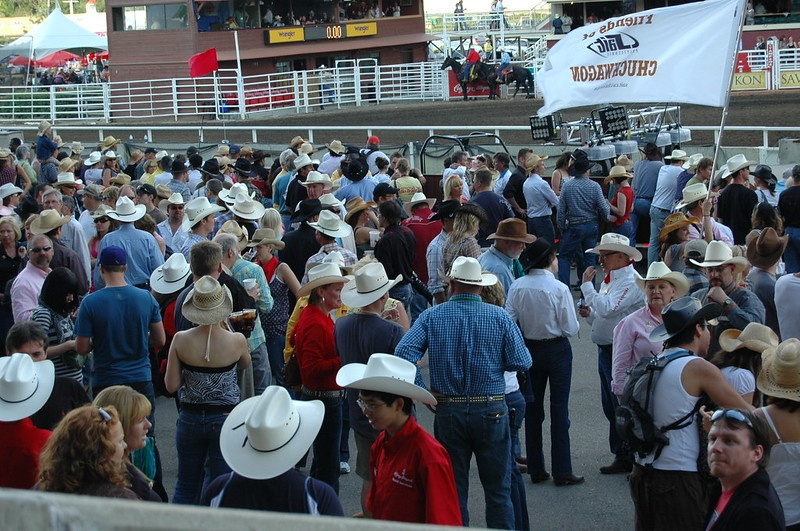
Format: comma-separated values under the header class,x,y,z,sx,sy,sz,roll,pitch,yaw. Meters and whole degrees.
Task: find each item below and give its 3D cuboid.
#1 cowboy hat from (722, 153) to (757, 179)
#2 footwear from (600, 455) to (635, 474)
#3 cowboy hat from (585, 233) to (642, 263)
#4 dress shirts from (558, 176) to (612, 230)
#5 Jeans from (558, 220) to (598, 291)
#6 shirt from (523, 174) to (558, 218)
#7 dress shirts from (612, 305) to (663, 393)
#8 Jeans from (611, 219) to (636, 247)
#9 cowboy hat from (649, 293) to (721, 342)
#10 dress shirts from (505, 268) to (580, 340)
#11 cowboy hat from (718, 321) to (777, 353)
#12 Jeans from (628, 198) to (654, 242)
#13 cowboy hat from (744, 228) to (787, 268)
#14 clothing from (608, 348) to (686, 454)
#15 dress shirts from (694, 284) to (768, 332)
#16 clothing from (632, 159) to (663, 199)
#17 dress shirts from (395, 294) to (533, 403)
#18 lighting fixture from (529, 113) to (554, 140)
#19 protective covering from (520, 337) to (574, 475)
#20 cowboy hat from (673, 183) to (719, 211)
class,x,y,z,sx,sy,sz,roll,pitch,yaw
cowboy hat,5.416,-1.612,19.500,0.411,0.203,0.512,-28,4,26
footwear,2.862,2.631,16.089,0.489,0.379,0.181,2,-4,2
cowboy hat,2.905,-0.235,16.017,0.478,0.206,0.464,13,-10,-1
dress shirts,3.071,-0.981,20.448,0.855,1.010,0.502,-2,8,5
Jeans,3.021,-0.232,20.524,0.593,1.472,0.477,-8,36,-10
shirt,2.408,-1.227,21.145,0.423,0.765,0.636,-15,12,-35
dress shirts,2.882,1.047,14.683,0.474,0.875,0.917,3,14,43
Jeans,3.535,-0.508,19.344,0.181,0.585,0.245,8,28,32
cowboy hat,3.233,0.697,13.942,0.554,0.244,0.618,-32,-1,-20
dress shirts,1.776,0.508,15.666,0.978,0.950,0.511,0,8,18
cowboy hat,4.110,0.866,14.211,0.496,0.214,0.382,-8,20,-30
Jeans,4.409,-0.714,22.309,0.274,0.363,1.028,17,50,2
cowboy hat,4.799,-0.234,15.982,0.426,0.559,0.227,18,-24,38
clothing,2.739,1.592,14.455,0.976,1.439,0.997,3,-1,1
dress shirts,4.310,0.622,15.423,0.902,0.605,0.778,-12,3,-9
clothing,4.461,-1.517,21.852,0.557,0.817,0.420,9,-2,23
dress shirts,0.744,0.992,14.757,1.638,1.340,0.772,0,-4,-2
lighting fixture,3.194,-3.020,26.773,0.541,0.560,0.165,0,4,26
protective covering,1.891,1.804,15.776,0.697,1.938,0.520,-3,15,2
cowboy hat,4.310,-1.013,17.964,0.419,0.171,0.372,-26,10,14
